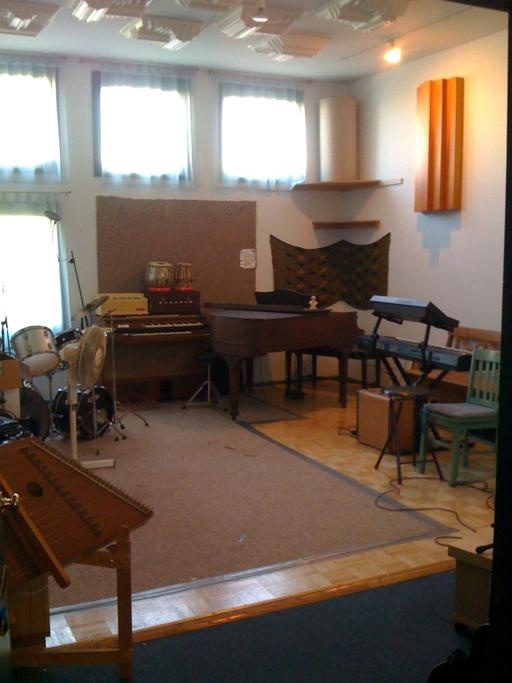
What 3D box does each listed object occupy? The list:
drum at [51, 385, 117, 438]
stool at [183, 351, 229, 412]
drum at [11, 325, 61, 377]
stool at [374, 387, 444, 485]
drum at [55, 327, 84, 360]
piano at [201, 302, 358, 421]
[{"bbox_3d":[-1.502,0.607,4.832,0.446,0.448,0.340,-9,-15,34],"label":"drum"},{"bbox_3d":[-0.506,0.413,6.167,0.457,0.597,0.401,4,-1,-14],"label":"stool"},{"bbox_3d":[-1.703,0.085,4.649,0.396,0.374,0.395,-18,-31,-27],"label":"drum"},{"bbox_3d":[1.106,0.659,4.162,0.447,0.596,0.476,2,0,-3],"label":"stool"},{"bbox_3d":[-1.443,0.020,4.430,0.239,0.176,0.238,-17,1,0],"label":"drum"},{"bbox_3d":[0.247,0.190,5.705,1.408,0.993,1.030,-5,3,-38],"label":"piano"}]
